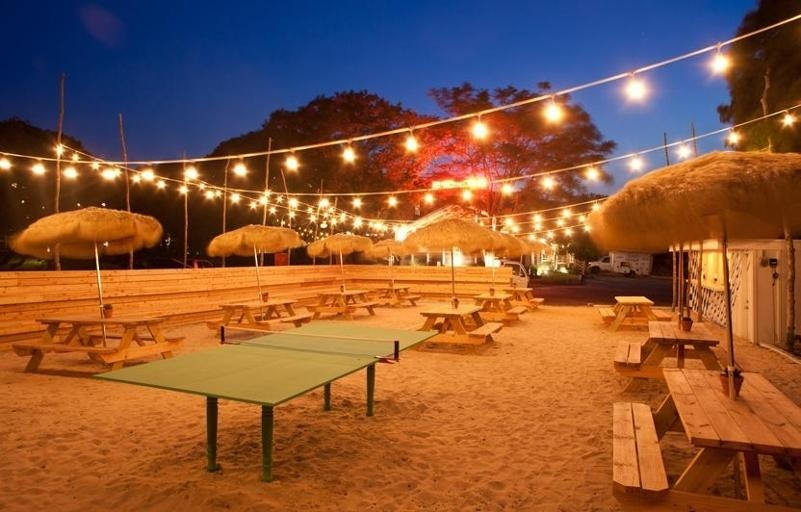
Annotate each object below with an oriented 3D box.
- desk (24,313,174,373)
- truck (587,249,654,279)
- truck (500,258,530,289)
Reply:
[{"bbox_3d":[-6.180,1.689,9.977,1.818,0.671,2.016,-20,-19,13],"label":"desk"},{"bbox_3d":[18.876,0.767,41.766,4.272,2.541,2.508,8,16,31],"label":"truck"},{"bbox_3d":[5.662,0.851,24.208,1.910,1.489,1.325,0,-4,-5],"label":"truck"}]
